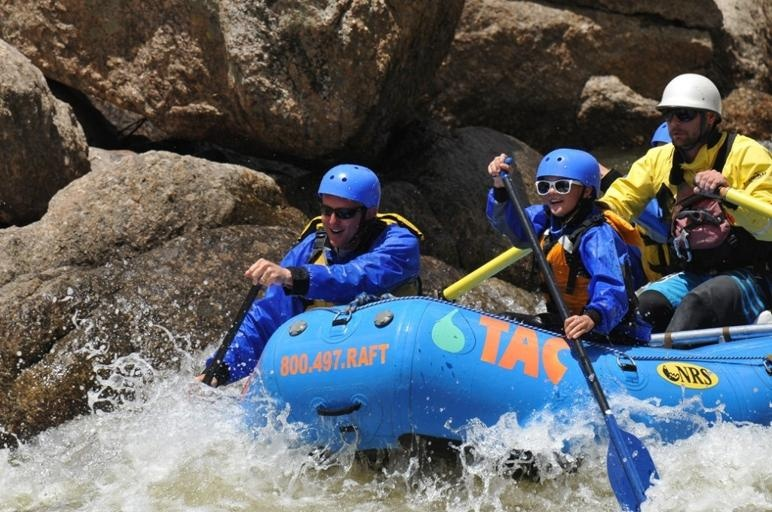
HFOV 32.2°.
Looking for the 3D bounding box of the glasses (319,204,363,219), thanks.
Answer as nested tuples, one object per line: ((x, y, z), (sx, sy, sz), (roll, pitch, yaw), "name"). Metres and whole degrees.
((-0.429, -0.407, 12.554), (0.371, 0.133, 0.122), (4, 44, -1), "glasses")

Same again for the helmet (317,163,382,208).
((-0.367, -0.663, 12.695), (0.503, 0.402, 0.383), (5, 2, -20), "helmet")

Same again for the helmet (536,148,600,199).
((1.680, -0.794, 12.574), (0.495, 0.394, 0.400), (-5, 4, -25), "helmet")

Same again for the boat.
((1.079, 1.060, 12.234), (3.269, 0.806, 1.975), (0, 2, 2), "boat")
